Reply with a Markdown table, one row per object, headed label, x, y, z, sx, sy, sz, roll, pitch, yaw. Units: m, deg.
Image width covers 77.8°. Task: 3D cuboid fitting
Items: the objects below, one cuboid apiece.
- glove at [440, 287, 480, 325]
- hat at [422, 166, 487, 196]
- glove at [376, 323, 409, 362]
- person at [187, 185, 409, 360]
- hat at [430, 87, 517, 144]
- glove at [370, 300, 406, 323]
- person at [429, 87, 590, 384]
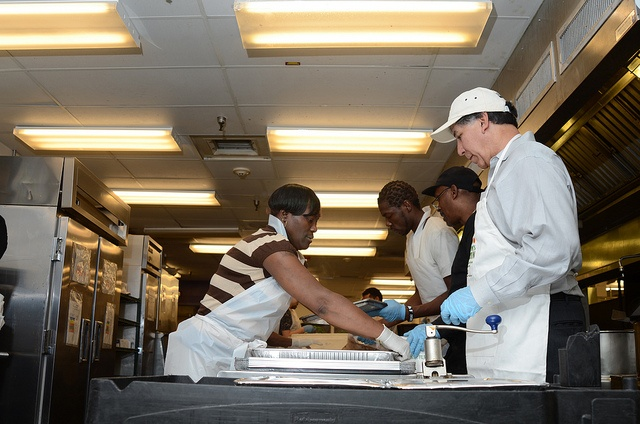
| label | x | y | z | sx | sy | sz | roll | pitch | yaw |
| --- | --- | --- | --- | --- | --- | --- | --- | --- | --- |
| glove | 0.596 | 0.407 | 1.704 | 0.071 | 0.141 | 0.194 | -10 | -20 | -43 |
| hat | 0.998 | -0.236 | 2.926 | 0.322 | 0.167 | 0.227 | 9 | -10 | 22 |
| glove | 0.351 | 0.615 | 1.861 | 0.208 | 0.088 | 0.127 | 41 | -37 | -7 |
| person | -0.143 | 0.289 | 2.475 | 1.178 | 1.249 | 0.854 | 5 | -10 | -5 |
| hat | 0.770 | -0.526 | 2.081 | 0.417 | 0.209 | 0.273 | -10 | -10 | 18 |
| glove | 0.528 | 0.747 | 2.978 | 0.275 | 0.088 | 0.199 | 6 | 2 | -1 |
| person | 0.830 | 0.039 | 1.834 | 0.625 | 1.376 | 0.455 | -17 | -28 | 31 |
